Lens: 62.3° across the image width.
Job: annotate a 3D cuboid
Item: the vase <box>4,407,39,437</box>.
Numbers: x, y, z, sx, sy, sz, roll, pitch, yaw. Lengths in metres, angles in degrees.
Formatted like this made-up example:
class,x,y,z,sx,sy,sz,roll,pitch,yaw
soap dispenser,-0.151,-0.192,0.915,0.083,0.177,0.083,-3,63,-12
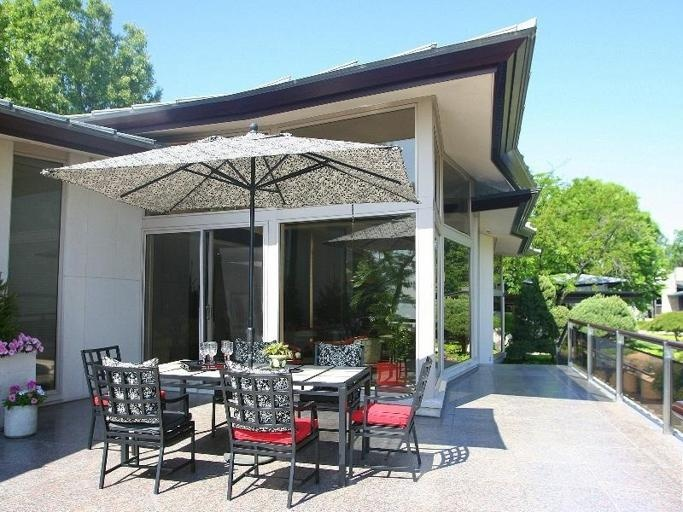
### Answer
class,x,y,z,sx,sy,sz,roll,pitch,yaw
vase,-4.468,2.351,8.103,0.447,0.453,0.432,0,-9,-5

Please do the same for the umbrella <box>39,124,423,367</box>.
class,x,y,z,sx,sy,sz,roll,pitch,yaw
umbrella,-1.716,-0.154,9.338,4.489,2.982,3.524,0,-8,1

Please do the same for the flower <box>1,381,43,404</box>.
class,x,y,z,sx,sy,sz,roll,pitch,yaw
flower,-4.593,2.008,8.142,0.413,0.268,0.407,0,0,21
